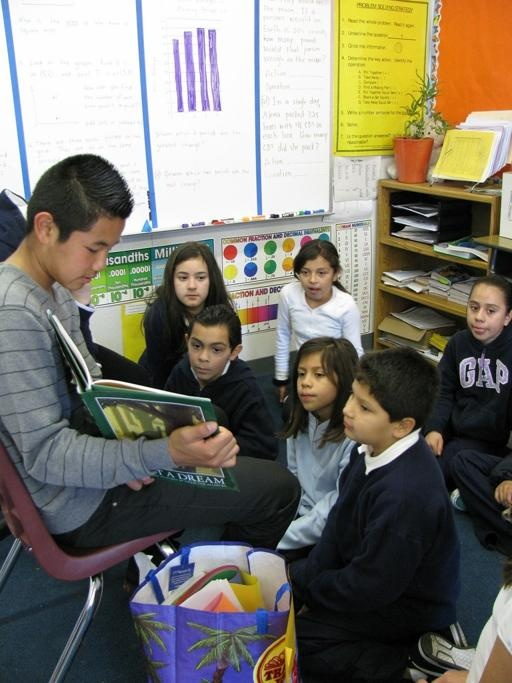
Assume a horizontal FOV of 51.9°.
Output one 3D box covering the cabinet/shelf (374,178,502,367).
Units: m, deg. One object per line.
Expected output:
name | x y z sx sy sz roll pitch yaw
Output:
cabinet/shelf | 1.060 -0.340 2.973 0.385 1.086 0.818 -18 25 -36

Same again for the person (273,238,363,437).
person | 0.308 0.091 2.510 0.423 1.152 0.302 18 30 35

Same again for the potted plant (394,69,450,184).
potted plant | 0.849 -1.113 2.745 0.265 0.510 0.461 -1 23 14

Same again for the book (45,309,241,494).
book | -0.153 0.103 0.888 0.306 0.295 0.277 1 25 -8
